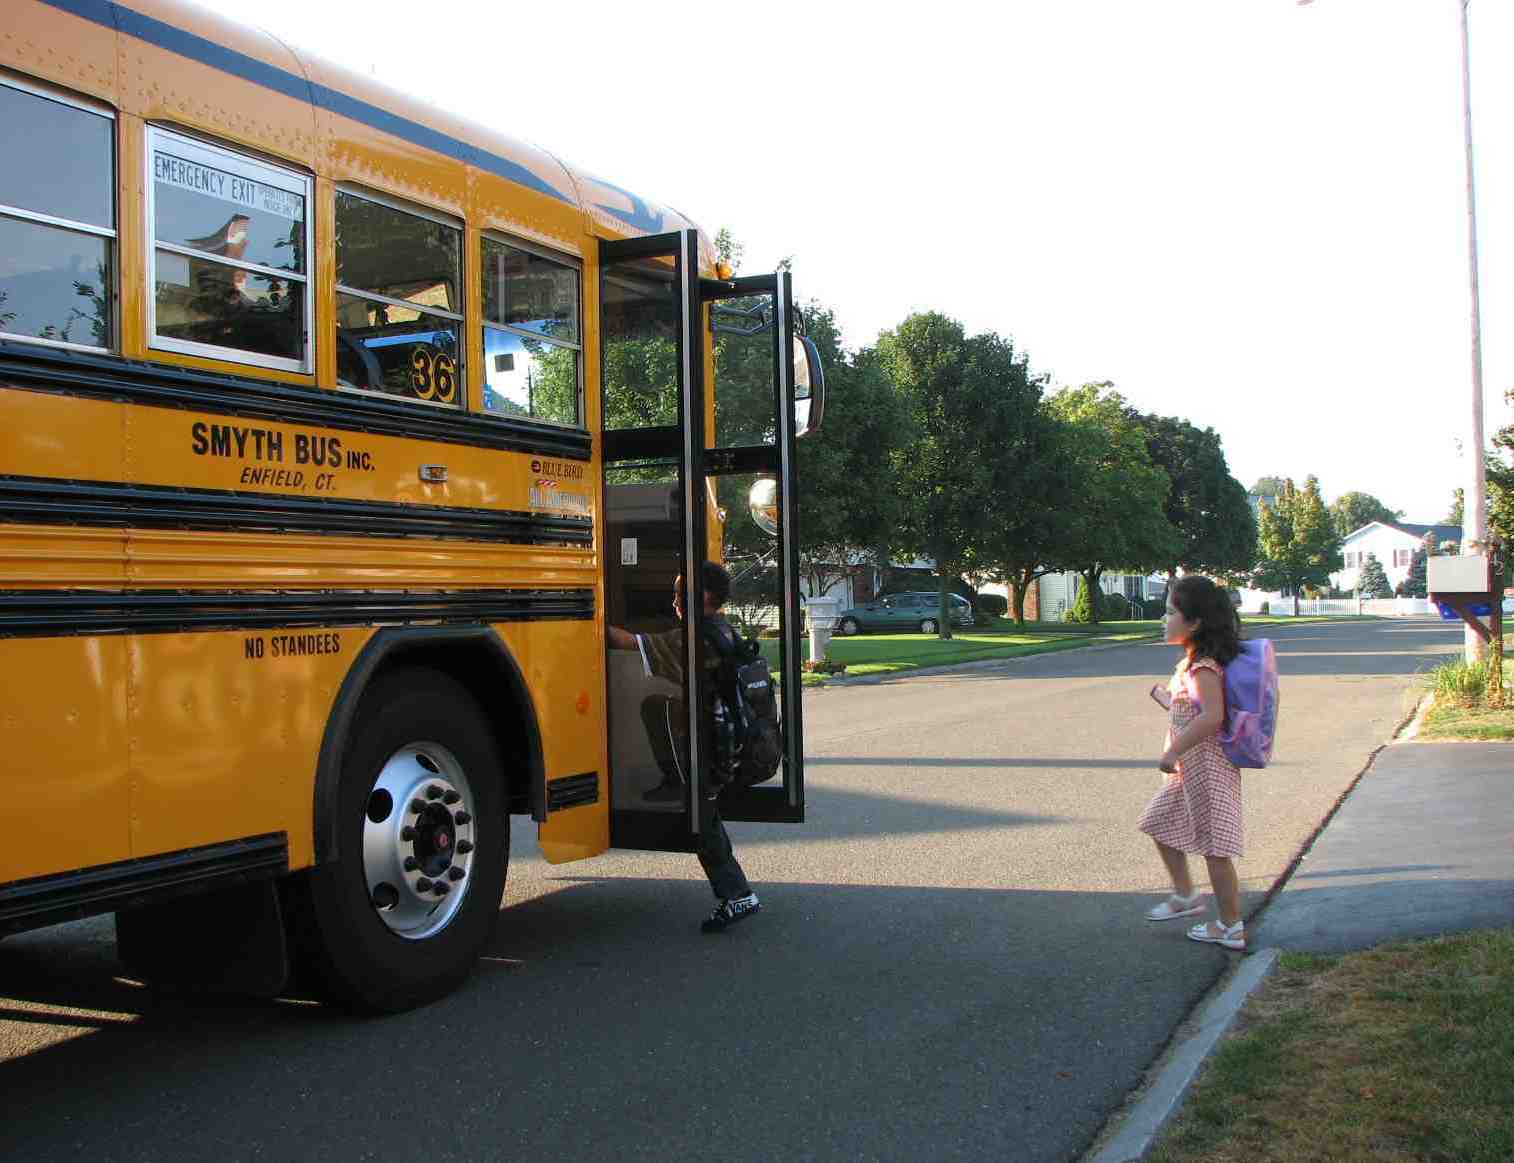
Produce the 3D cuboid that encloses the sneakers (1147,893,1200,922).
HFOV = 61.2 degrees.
[{"bbox_3d":[2.257,1.754,6.937,0.346,0.167,0.142,-4,-4,0],"label":"sneakers"}]

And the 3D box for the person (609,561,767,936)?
[{"bbox_3d":[-0.393,0.875,6.940,0.860,1.997,0.460,1,6,-4],"label":"person"}]

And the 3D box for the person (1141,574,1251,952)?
[{"bbox_3d":[2.285,0.901,6.617,0.501,1.843,0.926,2,-1,21],"label":"person"}]

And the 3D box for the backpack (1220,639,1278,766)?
[{"bbox_3d":[2.455,0.560,6.415,0.253,0.634,0.414,6,26,29],"label":"backpack"}]

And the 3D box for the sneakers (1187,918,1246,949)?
[{"bbox_3d":[2.315,1.751,6.416,0.301,0.151,0.122,4,0,26],"label":"sneakers"}]

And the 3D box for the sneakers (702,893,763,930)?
[{"bbox_3d":[-0.125,1.766,6.914,0.130,0.166,0.368,-6,-5,37],"label":"sneakers"}]
